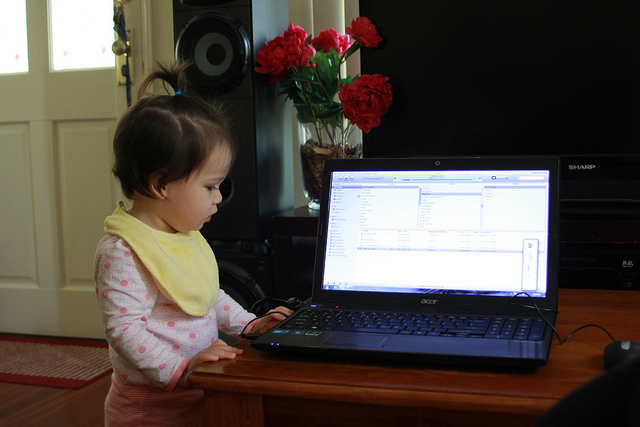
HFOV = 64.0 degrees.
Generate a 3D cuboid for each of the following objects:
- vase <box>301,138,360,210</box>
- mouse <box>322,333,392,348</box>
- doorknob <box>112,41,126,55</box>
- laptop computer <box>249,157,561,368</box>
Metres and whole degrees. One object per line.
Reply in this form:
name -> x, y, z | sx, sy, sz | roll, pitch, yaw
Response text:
vase -> -0.015, -0.124, 1.719 | 0.244, 0.242, 0.227 | 1, 0, -9
mouse -> 0.063, 0.218, 0.870 | 0.109, 0.011, 0.047 | 3, 4, 10
doorknob -> -0.878, -0.735, 2.257 | 0.058, 0.054, 0.051 | 8, 12, 11
laptop computer -> 0.184, 0.063, 0.946 | 0.484, 0.360, 0.361 | 4, 4, 21
